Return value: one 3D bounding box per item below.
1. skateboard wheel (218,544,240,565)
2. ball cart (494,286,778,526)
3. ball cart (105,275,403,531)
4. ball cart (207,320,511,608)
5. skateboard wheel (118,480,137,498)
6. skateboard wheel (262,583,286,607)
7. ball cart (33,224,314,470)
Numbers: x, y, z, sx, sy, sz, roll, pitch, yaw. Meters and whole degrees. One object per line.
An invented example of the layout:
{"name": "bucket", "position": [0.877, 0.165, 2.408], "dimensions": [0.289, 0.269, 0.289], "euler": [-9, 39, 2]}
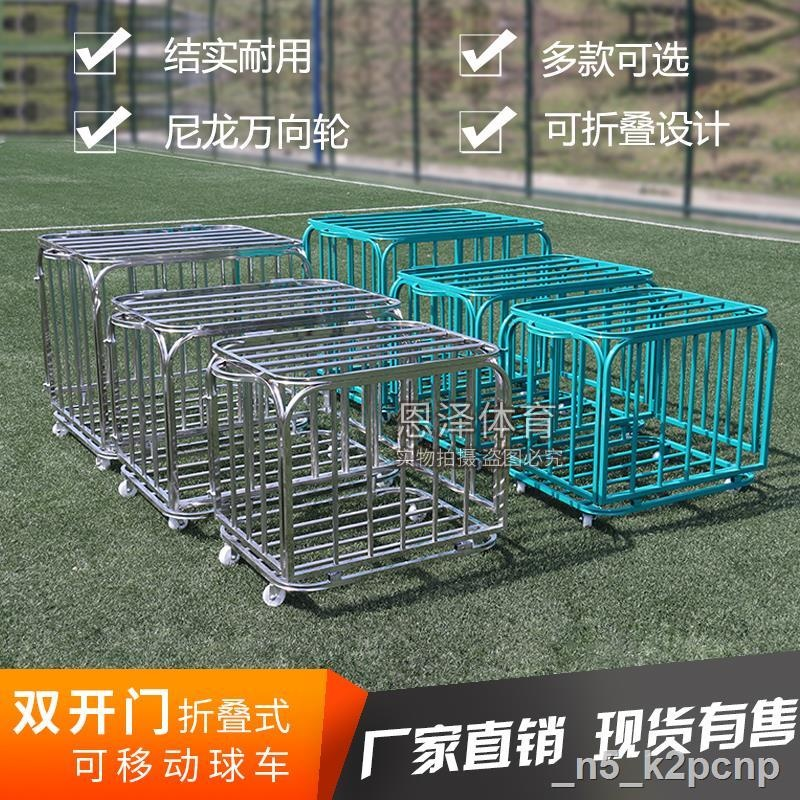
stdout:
{"name": "skateboard wheel", "position": [-0.645, 0.585, 4.881], "dimensions": [0.028, 0.074, 0.075], "euler": [3, 8, 33]}
{"name": "ball cart", "position": [1.023, -0.028, 5.815], "dimensions": [1.255, 0.759, 1.293], "euler": [3, 16, 11]}
{"name": "ball cart", "position": [-0.630, -0.026, 5.771], "dimensions": [1.286, 0.868, 0.994], "euler": [-6, 17, -28]}
{"name": "ball cart", "position": [-0.133, 0.195, 5.136], "dimensions": [1.157, 0.836, 0.972], "euler": [-5, 9, -35]}
{"name": "skateboard wheel", "position": [-1.178, 0.387, 5.582], "dimensions": [0.070, 0.080, 0.036], "euler": [-2, 15, -16]}
{"name": "skateboard wheel", "position": [-0.453, 0.690, 4.616], "dimensions": [0.085, 0.086, 0.073], "euler": [-2, 12, -7]}
{"name": "ball cart", "position": [-1.159, -0.297, 6.771], "dimensions": [1.237, 1.136, 0.970], "euler": [-12, 21, -31]}
